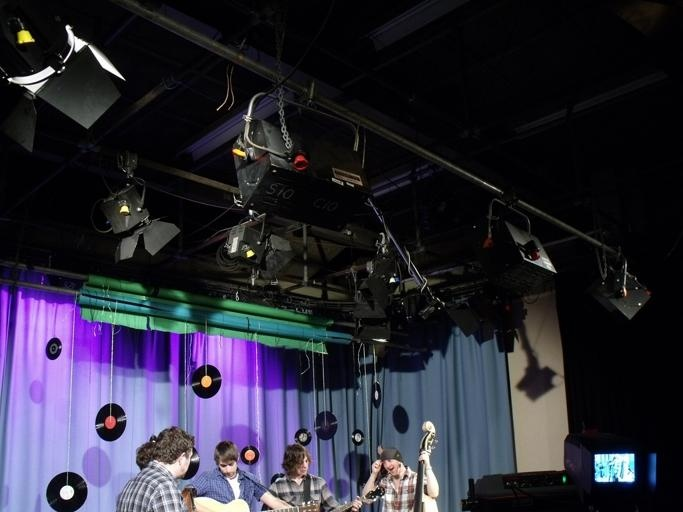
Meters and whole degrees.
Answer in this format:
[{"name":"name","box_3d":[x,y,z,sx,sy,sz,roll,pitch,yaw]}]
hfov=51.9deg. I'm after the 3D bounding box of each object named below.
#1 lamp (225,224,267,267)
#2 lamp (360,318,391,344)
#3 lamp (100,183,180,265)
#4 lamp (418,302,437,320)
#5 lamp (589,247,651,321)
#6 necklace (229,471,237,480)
[{"name":"lamp","box_3d":[-1.026,-0.131,7.504,0.420,0.375,0.376,2,-20,-2]},{"name":"lamp","box_3d":[0.429,0.991,9.237,0.418,0.256,0.228,1,-20,1]},{"name":"lamp","box_3d":[-2.126,-0.396,7.296,0.699,0.789,0.460,-10,-22,28]},{"name":"lamp","box_3d":[1.155,0.731,9.230,0.153,0.145,0.302,22,-14,1]},{"name":"lamp","box_3d":[3.568,0.352,8.881,0.472,0.597,0.656,-52,-18,16]},{"name":"necklace","box_3d":[-1.382,2.803,8.953,0.075,0.064,0.086,-11,-42,4]}]
